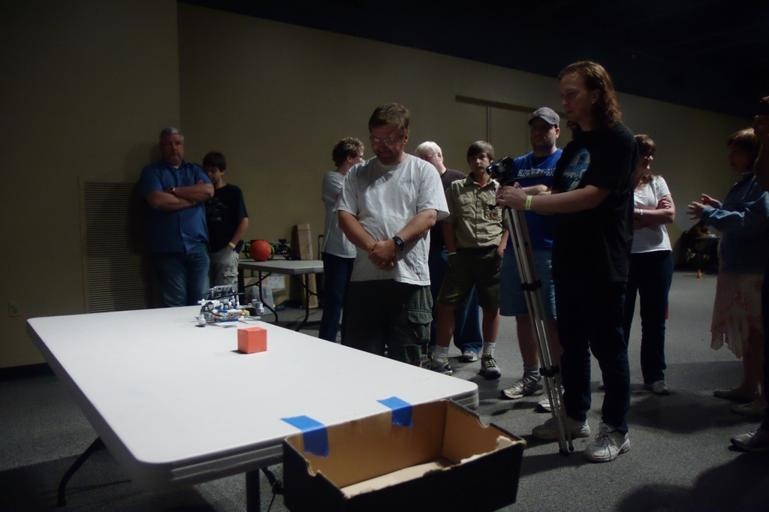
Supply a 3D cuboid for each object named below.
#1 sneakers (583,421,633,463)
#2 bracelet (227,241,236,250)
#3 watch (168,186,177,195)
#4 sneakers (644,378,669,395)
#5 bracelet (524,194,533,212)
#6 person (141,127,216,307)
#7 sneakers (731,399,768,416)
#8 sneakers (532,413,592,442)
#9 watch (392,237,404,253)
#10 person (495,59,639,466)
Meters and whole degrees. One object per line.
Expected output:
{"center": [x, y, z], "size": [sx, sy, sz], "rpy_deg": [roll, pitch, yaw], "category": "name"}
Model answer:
{"center": [1.374, 1.140, 3.430], "size": [0.355, 0.169, 0.137], "rpy_deg": [-1, -8, -42], "category": "sneakers"}
{"center": [-1.525, -0.106, 5.627], "size": [0.069, 0.069, 0.046], "rpy_deg": [-32, -25, 36], "category": "bracelet"}
{"center": [-1.841, -0.571, 4.882], "size": [0.066, 0.042, 0.063], "rpy_deg": [11, -1, -37], "category": "watch"}
{"center": [2.101, 1.003, 4.301], "size": [0.078, 0.074, 0.180], "rpy_deg": [-1, -5, -13], "category": "sneakers"}
{"center": [0.853, -0.315, 3.280], "size": [0.043, 0.081, 0.097], "rpy_deg": [2, 9, 19], "category": "bracelet"}
{"center": [-1.827, -0.354, 4.983], "size": [0.593, 1.557, 0.413], "rpy_deg": [-5, 9, -23], "category": "person"}
{"center": [2.568, 1.063, 3.941], "size": [0.222, 0.091, 0.082], "rpy_deg": [0, 0, 22], "category": "sneakers"}
{"center": [1.135, 1.118, 3.581], "size": [0.414, 0.200, 0.164], "rpy_deg": [-2, 3, 3], "category": "sneakers"}
{"center": [0.089, -0.071, 3.270], "size": [0.075, 0.094, 0.026], "rpy_deg": [-4, 9, -23], "category": "watch"}
{"center": [1.188, 0.033, 3.402], "size": [0.667, 2.371, 0.490], "rpy_deg": [3, 9, 23], "category": "person"}
